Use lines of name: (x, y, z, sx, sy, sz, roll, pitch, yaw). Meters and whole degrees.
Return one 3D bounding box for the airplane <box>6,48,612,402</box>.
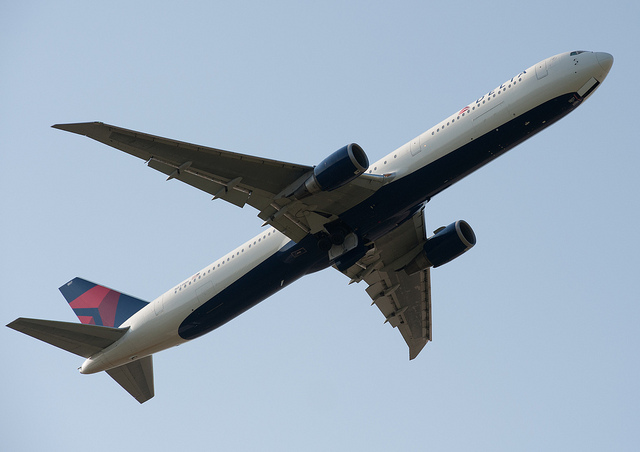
airplane: (-1.091, 0.939, 39.582, 18.047, 4.779, 15.213, -29, -45, 5)
